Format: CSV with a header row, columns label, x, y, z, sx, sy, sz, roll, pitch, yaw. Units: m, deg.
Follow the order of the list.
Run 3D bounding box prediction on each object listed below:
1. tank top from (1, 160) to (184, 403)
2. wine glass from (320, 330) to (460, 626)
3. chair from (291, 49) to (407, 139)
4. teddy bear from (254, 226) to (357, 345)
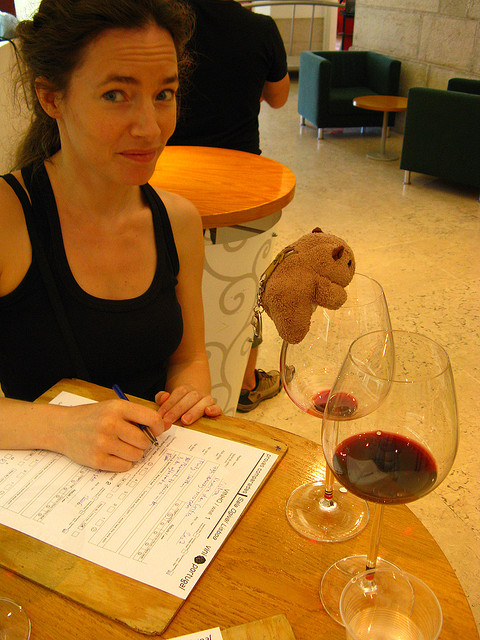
label,x,y,z,sx,sy,sz,roll,pitch,yaw
tank top,-0.311,-0.062,1.050,0.395,0.482,0.265,-9,28,-17
wine glass,0.138,0.140,0.512,0.117,0.249,0.229,5,27,10
chair,1.185,-2.514,5.826,0.861,0.827,0.792,-4,35,-4
teddy bear,0.101,-0.060,0.830,0.134,0.167,0.141,17,17,-9
